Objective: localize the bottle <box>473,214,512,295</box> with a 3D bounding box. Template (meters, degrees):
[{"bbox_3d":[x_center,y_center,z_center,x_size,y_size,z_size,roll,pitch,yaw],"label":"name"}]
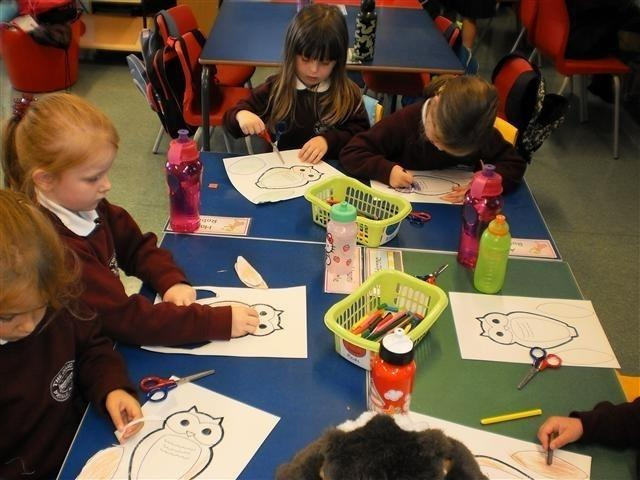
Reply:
[{"bbox_3d":[0.517,0.048,1.682,0.094,0.267,0.104,1,34,2],"label":"bottle"}]

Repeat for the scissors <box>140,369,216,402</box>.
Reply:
[{"bbox_3d":[-0.383,0.366,1.434,0.120,0.020,0.071,-20,35,-37],"label":"scissors"}]

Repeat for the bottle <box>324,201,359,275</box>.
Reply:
[{"bbox_3d":[0.066,0.003,1.684,0.091,0.250,0.100,2,34,-2],"label":"bottle"}]

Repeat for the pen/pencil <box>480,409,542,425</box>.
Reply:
[{"bbox_3d":[0.473,0.445,1.388,0.117,0.015,0.015,-6,49,-10],"label":"pen/pencil"}]
